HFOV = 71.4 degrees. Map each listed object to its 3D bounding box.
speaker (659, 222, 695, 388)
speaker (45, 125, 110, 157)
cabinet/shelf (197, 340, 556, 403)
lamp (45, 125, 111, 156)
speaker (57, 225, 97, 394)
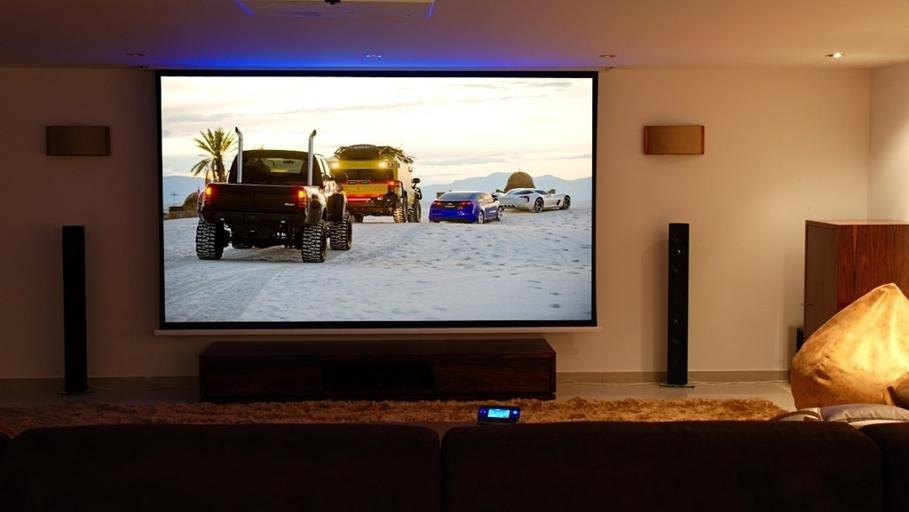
[{"bbox_3d":[2.155,0.473,6.153,0.235,1.603,0.147,-1,3,15],"label":"speaker"},{"bbox_3d":[-3.571,-1.089,5.917,0.638,0.279,0.129,-3,3,-3],"label":"speaker"},{"bbox_3d":[-0.702,1.060,5.913,3.240,0.533,0.318,-1,3,-2],"label":"cabinet/shelf"},{"bbox_3d":[-3.565,-1.092,5.970,0.644,0.277,0.132,-3,2,-3],"label":"lamp"},{"bbox_3d":[-3.565,0.502,5.921,0.267,1.587,0.126,-3,3,-14],"label":"speaker"}]
